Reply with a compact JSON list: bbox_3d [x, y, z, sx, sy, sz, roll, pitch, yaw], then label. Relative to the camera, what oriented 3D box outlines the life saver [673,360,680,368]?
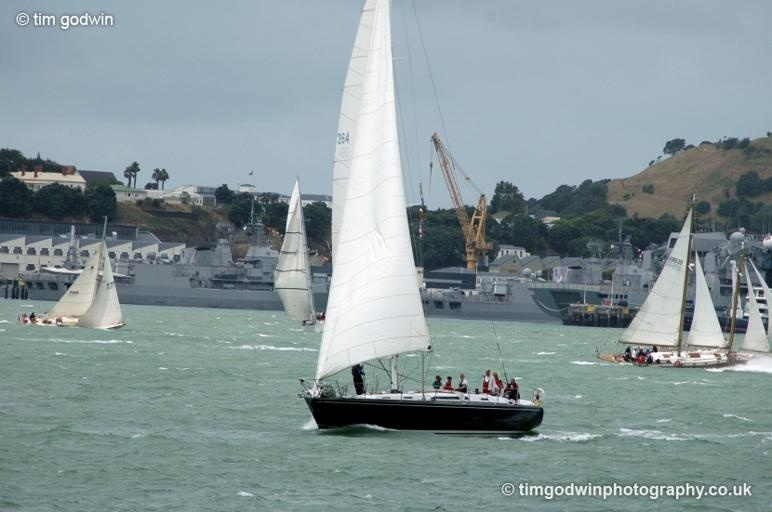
[{"bbox_3d":[28.470,10.734,151.060,0.531,0.704,0.202,-1,-5,18],"label":"life saver"}]

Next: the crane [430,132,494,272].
[{"bbox_3d":[11.783,-6.829,236.813,11.083,22.258,2.890,2,-6,-42],"label":"crane"}]

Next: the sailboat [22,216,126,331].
[{"bbox_3d":[-32.772,2.192,161.169,10.951,11.721,3.383,5,-1,-30],"label":"sailboat"}]
